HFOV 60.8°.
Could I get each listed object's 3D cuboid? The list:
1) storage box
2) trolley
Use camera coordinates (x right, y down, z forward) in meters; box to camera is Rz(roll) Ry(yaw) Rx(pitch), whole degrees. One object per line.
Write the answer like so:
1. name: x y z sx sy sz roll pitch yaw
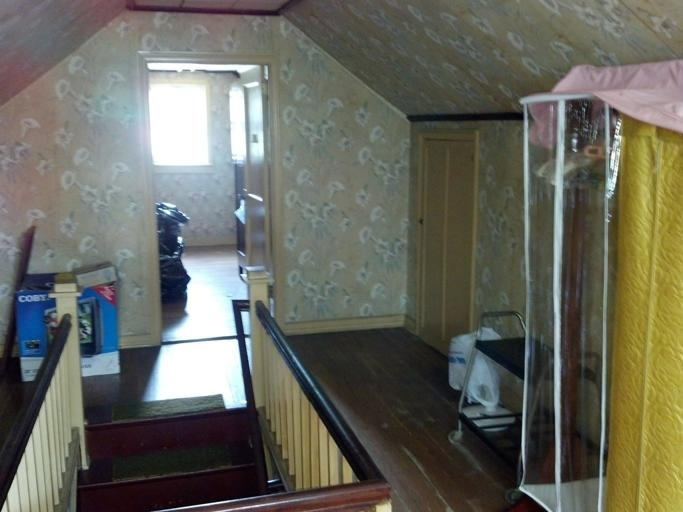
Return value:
1. storage box: -2.281 0.533 4.882 0.771 0.834 0.601 -4 14 -19
2. trolley: 0.954 0.815 3.739 0.726 1.045 0.746 -1 17 -7
